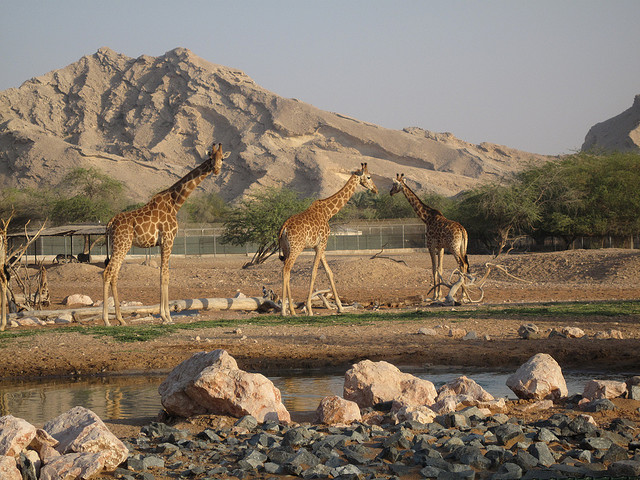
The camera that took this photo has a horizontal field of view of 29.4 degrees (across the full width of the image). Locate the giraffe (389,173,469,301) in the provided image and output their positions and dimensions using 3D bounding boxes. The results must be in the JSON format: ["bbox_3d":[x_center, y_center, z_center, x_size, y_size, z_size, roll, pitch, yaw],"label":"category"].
[{"bbox_3d":[4.940,-0.122,52.286,2.115,5.802,3.049,2,-8,-35],"label":"giraffe"}]
